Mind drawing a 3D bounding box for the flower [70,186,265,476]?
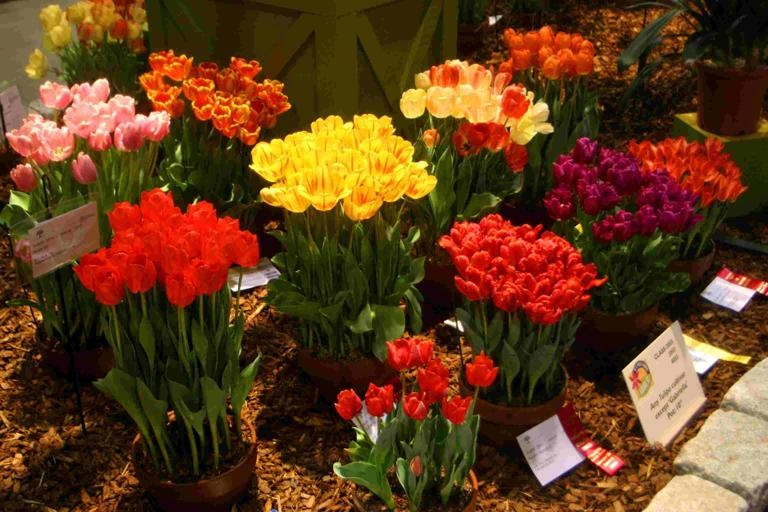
[{"bbox_3d":[-0.752,0.353,2.059,0.601,1.013,0.558,17,37,18],"label":"flower"}]

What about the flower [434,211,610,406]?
[{"bbox_3d":[0.558,0.242,2.289,0.581,0.768,0.712,-2,22,10],"label":"flower"}]

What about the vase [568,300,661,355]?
[{"bbox_3d":[1.148,0.393,2.759,0.368,0.321,0.406,-1,-8,29],"label":"vase"}]

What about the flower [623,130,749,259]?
[{"bbox_3d":[1.592,-0.308,2.925,0.517,0.574,0.546,-11,29,-11],"label":"flower"}]

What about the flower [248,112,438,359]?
[{"bbox_3d":[-0.099,-0.048,2.523,0.592,0.965,0.676,2,23,-25],"label":"flower"}]
